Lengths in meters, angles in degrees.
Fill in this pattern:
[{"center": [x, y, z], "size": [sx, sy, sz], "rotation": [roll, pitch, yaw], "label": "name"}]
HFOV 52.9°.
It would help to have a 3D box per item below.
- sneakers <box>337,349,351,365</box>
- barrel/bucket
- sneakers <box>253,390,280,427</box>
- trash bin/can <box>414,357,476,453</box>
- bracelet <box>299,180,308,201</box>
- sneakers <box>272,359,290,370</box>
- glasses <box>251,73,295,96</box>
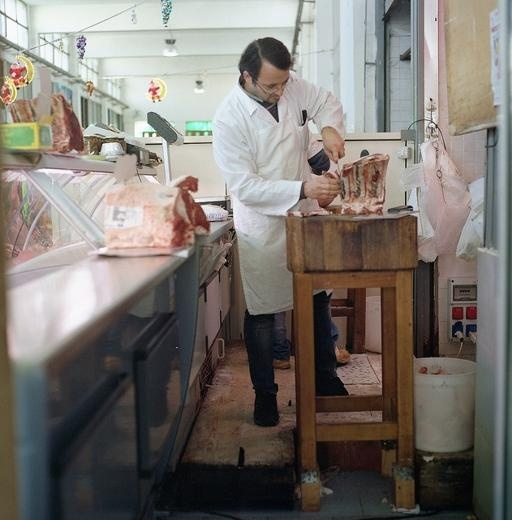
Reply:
[{"center": [0.485, 0.541, 2.887], "size": [0.084, 0.053, 0.127], "rotation": [1, 7, 0], "label": "sneakers"}, {"center": [0.676, 0.517, 1.949], "size": [0.243, 0.333, 0.282], "rotation": [-1, 5, 2], "label": "barrel/bucket"}, {"center": [0.035, 0.631, 2.241], "size": [0.140, 0.222, 0.123], "rotation": [1, -12, -9], "label": "sneakers"}, {"center": [0.649, 0.517, 1.912], "size": [0.243, 0.334, 0.282], "rotation": [0, -3, 5], "label": "trash bin/can"}, {"center": [0.179, -0.267, 2.036], "size": [0.015, 0.059, 0.053], "rotation": [4, -1, -5], "label": "bracelet"}, {"center": [0.145, 0.605, 2.976], "size": [0.104, 0.057, 0.042], "rotation": [4, 3, 8], "label": "sneakers"}, {"center": [0.058, -0.716, 2.110], "size": [0.096, 0.033, 0.110], "rotation": [-16, 55, -18], "label": "glasses"}]
